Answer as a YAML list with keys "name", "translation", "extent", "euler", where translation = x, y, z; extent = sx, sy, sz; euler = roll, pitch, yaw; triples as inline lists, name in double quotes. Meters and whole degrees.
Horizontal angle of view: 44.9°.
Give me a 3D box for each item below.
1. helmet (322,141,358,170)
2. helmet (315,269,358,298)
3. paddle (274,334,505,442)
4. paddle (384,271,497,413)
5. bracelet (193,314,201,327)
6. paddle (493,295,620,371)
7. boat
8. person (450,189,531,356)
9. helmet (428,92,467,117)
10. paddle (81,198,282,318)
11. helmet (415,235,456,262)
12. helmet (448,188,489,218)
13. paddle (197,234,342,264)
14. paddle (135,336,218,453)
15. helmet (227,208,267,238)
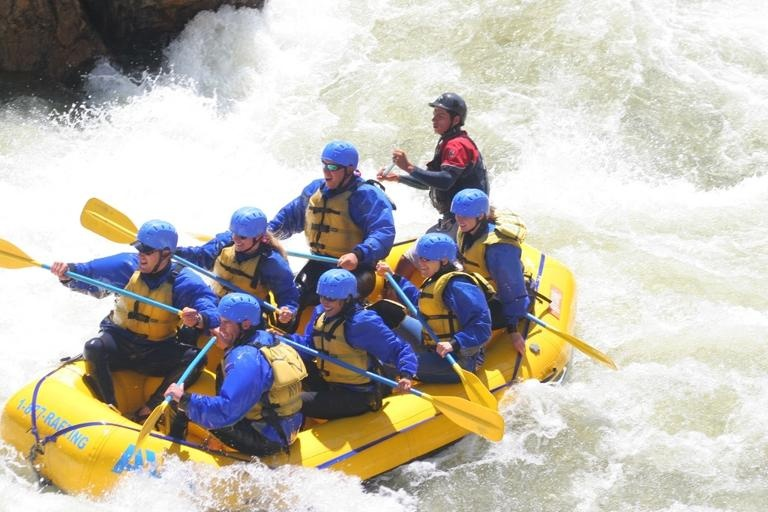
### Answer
- name: "helmet"
  translation: [-0.526, -1.129, 10.412]
  extent: [0.386, 0.268, 0.219]
  euler: [-2, 113, -29]
- name: "helmet"
  translation: [-0.478, 0.285, 9.392]
  extent: [0.388, 0.188, 0.310]
  euler: [1, 67, -3]
- name: "paddle"
  translation: [-0.024, 1.372, 9.505]
  extent: [2.559, 0.121, 0.262]
  euler: [24, 104, 7]
- name: "paddle"
  translation: [0.594, 0.940, 9.730]
  extent: [1.943, 0.152, 0.257]
  euler: [45, 97, 11]
- name: "bracelet"
  translation: [-1.900, 0.652, 9.440]
  extent: [0.039, 0.086, 0.108]
  euler: [14, 102, 32]
- name: "paddle"
  translation: [1.920, 0.897, 10.567]
  extent: [1.630, 0.077, 0.218]
  euler: [30, 95, -8]
- name: "boat"
  translation: [-0.867, 1.546, 9.586]
  extent: [4.422, 0.842, 2.483]
  euler: [-18, 52, -19]
- name: "person"
  translation: [1.121, 0.242, 10.035]
  extent: [0.866, 1.751, 1.084]
  euler: [-10, 33, -7]
- name: "helmet"
  translation: [0.756, -1.779, 10.881]
  extent: [0.386, 0.271, 0.184]
  euler: [18, 94, -13]
- name: "paddle"
  translation: [-2.317, 0.061, 10.391]
  extent: [2.890, 0.194, 0.484]
  euler: [28, 102, 3]
- name: "helmet"
  translation: [0.530, -0.108, 9.796]
  extent: [0.376, 0.274, 0.213]
  euler: [20, 90, -20]
- name: "helmet"
  translation: [0.960, -0.573, 10.103]
  extent: [0.383, 0.276, 0.219]
  euler: [10, 104, -33]
- name: "paddle"
  translation: [-1.307, -0.081, 10.380]
  extent: [1.498, 0.076, 0.159]
  euler: [13, 88, 4]
- name: "paddle"
  translation: [-2.135, 1.439, 9.400]
  extent: [0.184, 0.078, 1.400]
  euler: [39, 85, -14]
- name: "helmet"
  translation: [-1.404, -0.351, 9.992]
  extent: [0.301, 0.386, 0.327]
  euler: [15, 93, 26]
